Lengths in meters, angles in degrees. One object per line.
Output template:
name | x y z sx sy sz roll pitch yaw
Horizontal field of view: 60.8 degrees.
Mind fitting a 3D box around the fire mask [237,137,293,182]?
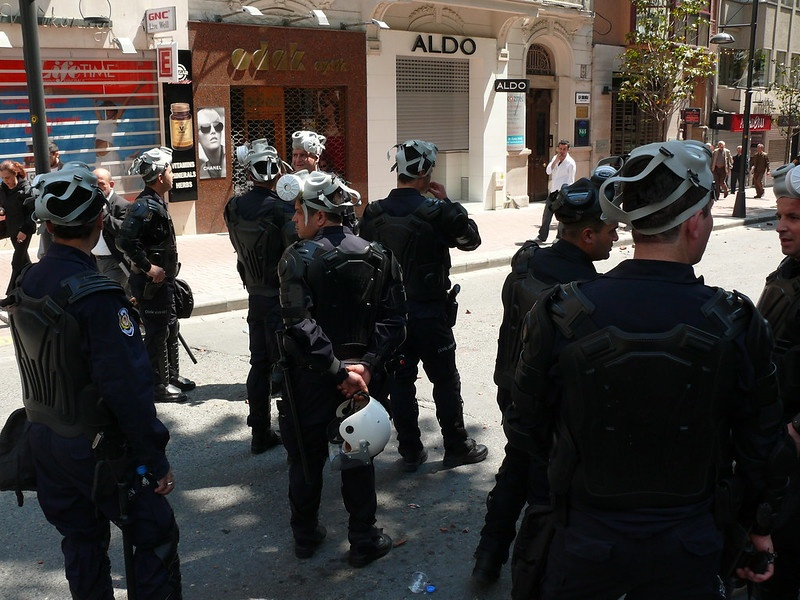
fire mask | -1.297 -1.266 6.052 0.273 0.215 0.420 -22 -5 8

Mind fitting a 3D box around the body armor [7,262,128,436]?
body armor | -1.625 0.251 3.261 0.569 0.744 0.252 4 15 18

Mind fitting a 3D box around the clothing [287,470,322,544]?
clothing | -0.594 1.306 4.271 0.188 0.533 0.111 -3 14 -7

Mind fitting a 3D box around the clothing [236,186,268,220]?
clothing | -1.262 -0.814 5.884 0.226 0.321 0.136 14 -7 12

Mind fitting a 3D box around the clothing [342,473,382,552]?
clothing | -0.250 1.257 4.208 0.201 0.536 0.120 -3 14 -7

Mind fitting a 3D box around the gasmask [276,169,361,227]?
gasmask | -0.556 -0.692 4.342 0.470 0.237 0.314 10 8 -21

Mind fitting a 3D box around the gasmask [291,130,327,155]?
gasmask | -1.126 -1.889 8.042 0.334 0.198 0.420 15 1 -40

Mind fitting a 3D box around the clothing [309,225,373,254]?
clothing | -0.358 -0.364 4.186 0.198 0.132 0.254 -3 7 -20

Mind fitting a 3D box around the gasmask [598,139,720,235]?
gasmask | 1.009 -0.429 2.667 0.433 0.329 0.324 -37 29 -25

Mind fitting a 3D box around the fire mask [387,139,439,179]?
fire mask | 0.101 -1.107 5.420 0.288 0.373 0.311 9 12 14

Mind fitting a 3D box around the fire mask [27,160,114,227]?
fire mask | -1.633 -0.583 3.305 0.255 0.349 0.326 17 26 -10

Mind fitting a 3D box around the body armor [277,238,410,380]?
body armor | -0.361 0.072 4.157 0.836 0.892 0.513 -10 15 -44

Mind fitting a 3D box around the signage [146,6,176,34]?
signage | -4.914 -5.713 13.973 1.026 0.480 0.291 12 19 41

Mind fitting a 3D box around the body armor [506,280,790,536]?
body armor | 0.969 0.422 2.586 1.083 1.087 0.387 0 14 2

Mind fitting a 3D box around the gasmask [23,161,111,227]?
gasmask | -1.643 -0.527 3.385 0.252 0.325 0.351 23 40 27

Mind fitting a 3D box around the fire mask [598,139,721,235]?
fire mask | 1.000 -0.429 2.672 0.427 0.344 0.332 -37 26 -24
